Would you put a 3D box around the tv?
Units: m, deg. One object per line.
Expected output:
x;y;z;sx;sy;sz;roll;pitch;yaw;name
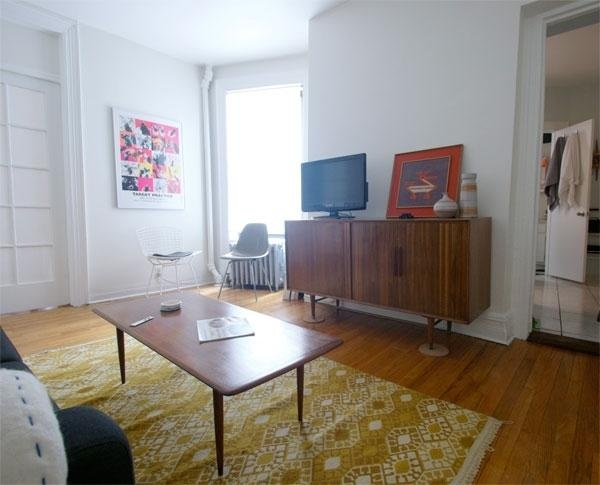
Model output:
0.316;-0.497;3.753;0.610;0.450;0.161;3;8;43;tv

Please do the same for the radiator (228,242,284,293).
-0.488;0.335;5.136;0.778;0.663;0.499;-2;-3;34;radiator

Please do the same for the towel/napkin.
1.876;-0.502;3.010;0.220;0.542;0.057;8;11;29;towel/napkin

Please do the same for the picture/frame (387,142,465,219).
1.010;-0.483;3.344;0.634;0.661;0.044;2;-3;43;picture/frame

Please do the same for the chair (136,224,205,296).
-1.487;0.194;4.905;0.689;1.023;0.829;4;6;45;chair

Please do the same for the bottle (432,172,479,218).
1.064;-0.332;3.054;0.394;0.400;0.218;-1;1;20;bottle

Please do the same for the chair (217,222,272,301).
-0.593;0.191;4.794;0.572;0.835;0.973;1;9;-8;chair
